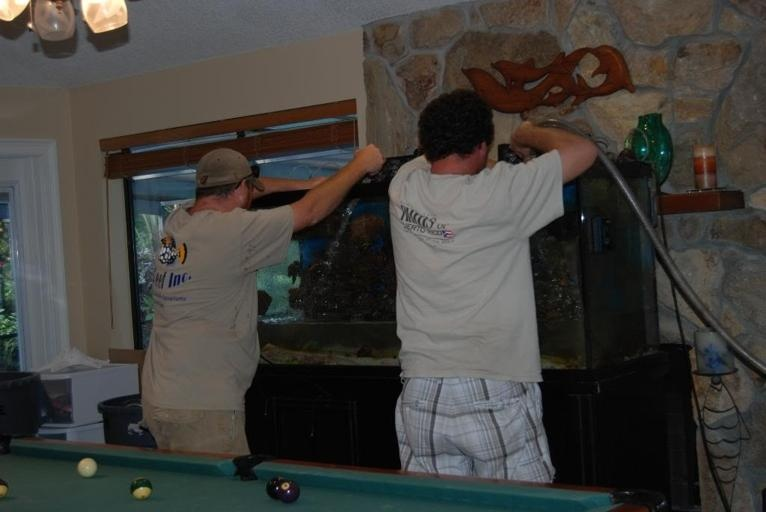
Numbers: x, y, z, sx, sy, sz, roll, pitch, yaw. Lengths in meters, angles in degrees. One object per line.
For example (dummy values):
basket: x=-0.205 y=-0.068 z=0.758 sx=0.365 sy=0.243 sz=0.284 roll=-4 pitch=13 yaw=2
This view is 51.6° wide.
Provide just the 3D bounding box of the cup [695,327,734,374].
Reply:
cup: x=1.836 y=0.514 z=4.459 sx=0.235 sy=0.248 sz=0.265 roll=-1 pitch=1 yaw=29

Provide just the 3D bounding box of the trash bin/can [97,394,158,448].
trash bin/can: x=-1.573 y=1.040 z=4.903 sx=0.444 sy=0.292 sz=0.366 roll=-1 pitch=-4 yaw=3

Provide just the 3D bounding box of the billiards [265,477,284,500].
billiards: x=-0.421 y=0.907 z=3.089 sx=0.077 sy=0.075 sz=0.053 roll=-8 pitch=-3 yaw=11

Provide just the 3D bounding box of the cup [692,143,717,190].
cup: x=1.812 y=-0.498 z=4.474 sx=0.116 sy=0.244 sz=0.092 roll=0 pitch=6 yaw=18

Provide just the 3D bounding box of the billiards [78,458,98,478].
billiards: x=-1.243 y=0.895 z=3.344 sx=0.079 sy=0.075 sz=0.038 roll=8 pitch=-8 yaw=2

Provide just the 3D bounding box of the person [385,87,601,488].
person: x=0.456 y=0.215 z=3.517 sx=0.829 sy=1.530 sz=0.405 roll=-2 pitch=6 yaw=1

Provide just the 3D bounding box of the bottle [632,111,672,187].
bottle: x=1.497 y=-0.612 z=4.483 sx=0.209 sy=0.390 sz=0.248 roll=1 pitch=7 yaw=31

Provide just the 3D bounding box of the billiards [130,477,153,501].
billiards: x=-0.966 y=0.926 z=3.175 sx=0.088 sy=0.076 sz=0.113 roll=-4 pitch=6 yaw=-18

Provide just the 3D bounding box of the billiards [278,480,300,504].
billiards: x=-0.364 y=0.914 z=3.067 sx=0.077 sy=0.075 sz=0.075 roll=6 pitch=17 yaw=16

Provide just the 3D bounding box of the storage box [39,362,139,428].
storage box: x=-1.966 y=0.918 z=5.381 sx=0.437 sy=0.271 sz=0.446 roll=-4 pitch=-5 yaw=38

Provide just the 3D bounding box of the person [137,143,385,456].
person: x=-0.685 y=0.212 z=3.849 sx=0.970 sy=1.455 sz=0.346 roll=-4 pitch=6 yaw=-18
